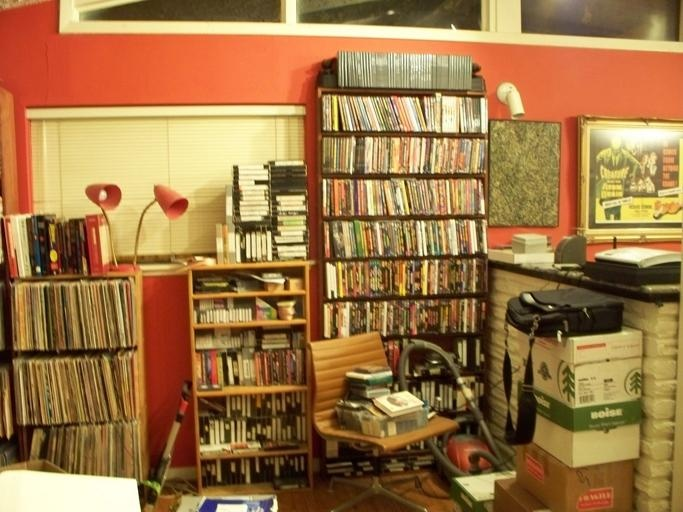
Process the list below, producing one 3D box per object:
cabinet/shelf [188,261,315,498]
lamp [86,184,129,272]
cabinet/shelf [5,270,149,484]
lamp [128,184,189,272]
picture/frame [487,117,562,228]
[{"bbox_3d":[-0.670,0.905,5.341,0.985,1.743,0.442,-5,6,-3],"label":"cabinet/shelf"},{"bbox_3d":[-1.749,-0.222,5.200,0.242,0.634,0.493,-7,7,-18],"label":"lamp"},{"bbox_3d":[-1.874,0.837,5.206,0.977,1.511,0.442,0,0,0],"label":"cabinet/shelf"},{"bbox_3d":[-1.382,-0.223,5.164,0.381,0.595,0.635,-8,7,-27],"label":"lamp"},{"bbox_3d":[1.487,-0.704,5.698,0.849,1.198,0.084,0,3,-13],"label":"picture/frame"}]
